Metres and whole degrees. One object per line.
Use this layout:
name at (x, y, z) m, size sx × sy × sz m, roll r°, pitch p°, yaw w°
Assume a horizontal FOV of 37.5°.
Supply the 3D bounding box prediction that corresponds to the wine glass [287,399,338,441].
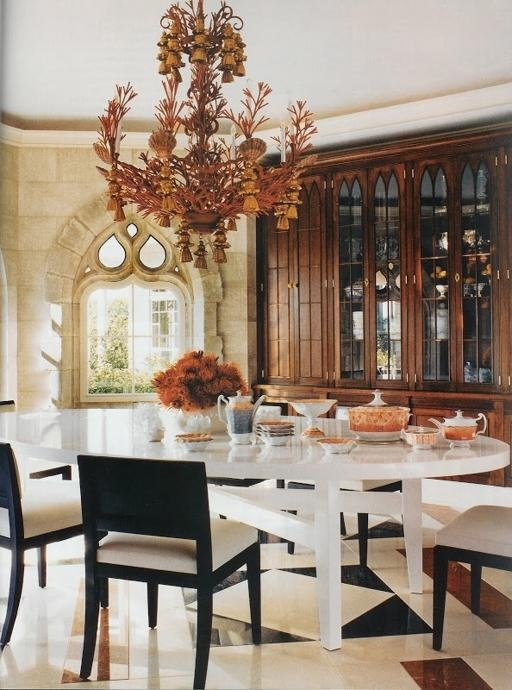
wine glass at (0.234, 0.308, 3.128) m, size 0.178 × 0.113 × 0.170 m, roll -1°, pitch -4°, yaw 3°

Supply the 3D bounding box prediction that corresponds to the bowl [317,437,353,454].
bowl at (0.296, 0.364, 2.724) m, size 0.139 × 0.045 × 0.104 m, roll -1°, pitch 4°, yaw -6°

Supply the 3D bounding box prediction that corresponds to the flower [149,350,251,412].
flower at (-0.223, 0.150, 3.177) m, size 0.287 × 0.166 × 0.296 m, roll -2°, pitch 3°, yaw 9°

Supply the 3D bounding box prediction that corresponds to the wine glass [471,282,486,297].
wine glass at (1.464, -0.364, 4.977) m, size 0.089 × 0.072 × 0.087 m, roll 0°, pitch -4°, yaw 1°

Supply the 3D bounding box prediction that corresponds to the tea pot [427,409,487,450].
tea pot at (0.777, 0.309, 2.882) m, size 0.166 × 0.134 × 0.289 m, roll 0°, pitch 4°, yaw 12°

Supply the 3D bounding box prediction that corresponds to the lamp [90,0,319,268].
lamp at (-0.189, -1.134, 3.947) m, size 0.944 × 1.464 × 2.050 m, roll 0°, pitch 4°, yaw 3°
